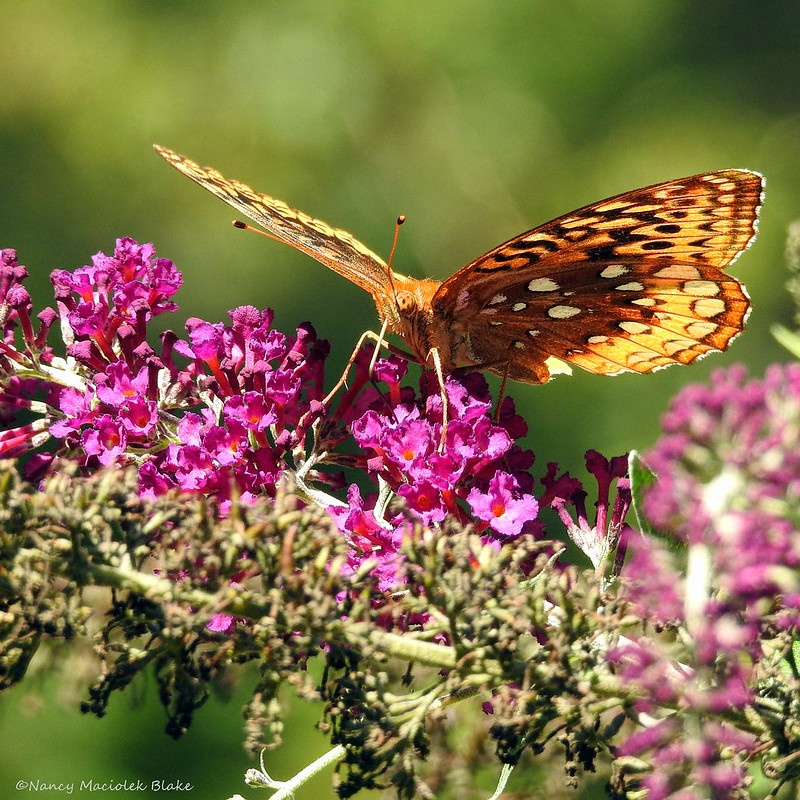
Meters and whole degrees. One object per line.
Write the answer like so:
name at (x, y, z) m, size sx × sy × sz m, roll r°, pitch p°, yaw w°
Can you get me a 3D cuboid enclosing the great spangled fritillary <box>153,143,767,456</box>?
great spangled fritillary at (0.194, -0.170, 2.574) m, size 0.807 × 1.105 × 0.472 m, roll 7°, pitch -90°, yaw -44°
